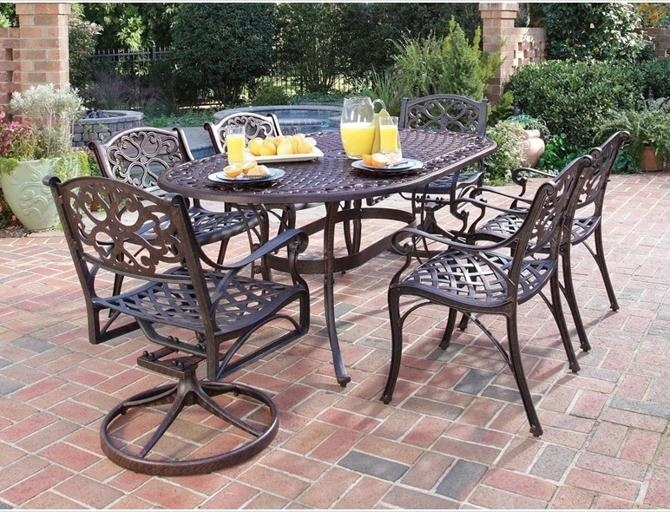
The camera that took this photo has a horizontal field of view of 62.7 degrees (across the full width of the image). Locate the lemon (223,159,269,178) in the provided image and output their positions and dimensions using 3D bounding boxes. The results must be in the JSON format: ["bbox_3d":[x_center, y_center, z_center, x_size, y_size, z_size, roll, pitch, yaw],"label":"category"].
[{"bbox_3d":[-0.444,-0.440,2.754,0.213,0.065,0.221,-2,10,-13],"label":"lemon"}]

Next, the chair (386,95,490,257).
[{"bbox_3d":[0.838,-0.729,4.920,1.006,1.139,0.928,-1,-8,-13],"label":"chair"}]

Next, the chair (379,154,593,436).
[{"bbox_3d":[0.796,0.104,2.695,0.771,1.164,1.027,8,22,28],"label":"chair"}]

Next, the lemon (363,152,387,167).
[{"bbox_3d":[0.220,-0.507,2.877,0.098,0.035,0.109,25,25,24],"label":"lemon"}]

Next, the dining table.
[{"bbox_3d":[-0.018,0.010,3.050,1.200,0.741,2.030,10,20,35],"label":"dining table"}]

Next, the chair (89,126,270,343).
[{"bbox_3d":[-0.961,-0.263,3.445,1.128,0.855,1.079,-6,14,-39],"label":"chair"}]
